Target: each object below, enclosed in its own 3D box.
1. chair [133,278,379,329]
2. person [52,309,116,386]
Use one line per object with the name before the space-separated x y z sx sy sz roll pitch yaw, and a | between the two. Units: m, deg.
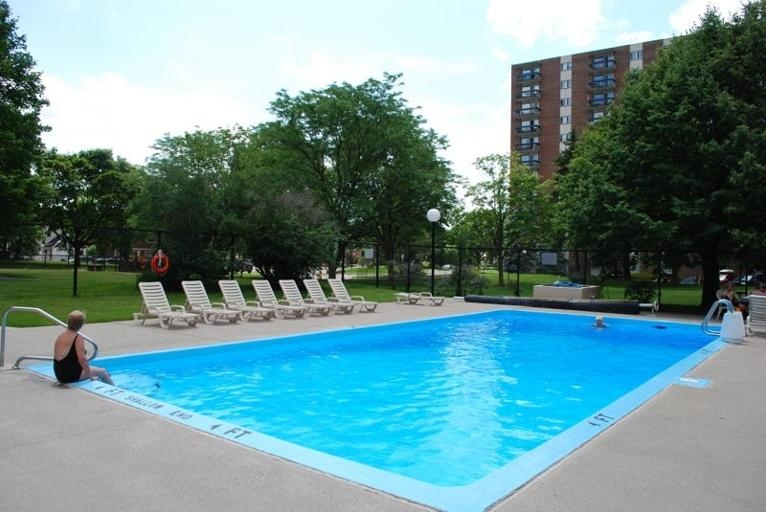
chair | -7.143 1.789 22.474 4.649 1.758 2.737 0 -2 -29
person | -7.704 2.315 14.710 1.169 1.865 0.811 -1 0 -25
